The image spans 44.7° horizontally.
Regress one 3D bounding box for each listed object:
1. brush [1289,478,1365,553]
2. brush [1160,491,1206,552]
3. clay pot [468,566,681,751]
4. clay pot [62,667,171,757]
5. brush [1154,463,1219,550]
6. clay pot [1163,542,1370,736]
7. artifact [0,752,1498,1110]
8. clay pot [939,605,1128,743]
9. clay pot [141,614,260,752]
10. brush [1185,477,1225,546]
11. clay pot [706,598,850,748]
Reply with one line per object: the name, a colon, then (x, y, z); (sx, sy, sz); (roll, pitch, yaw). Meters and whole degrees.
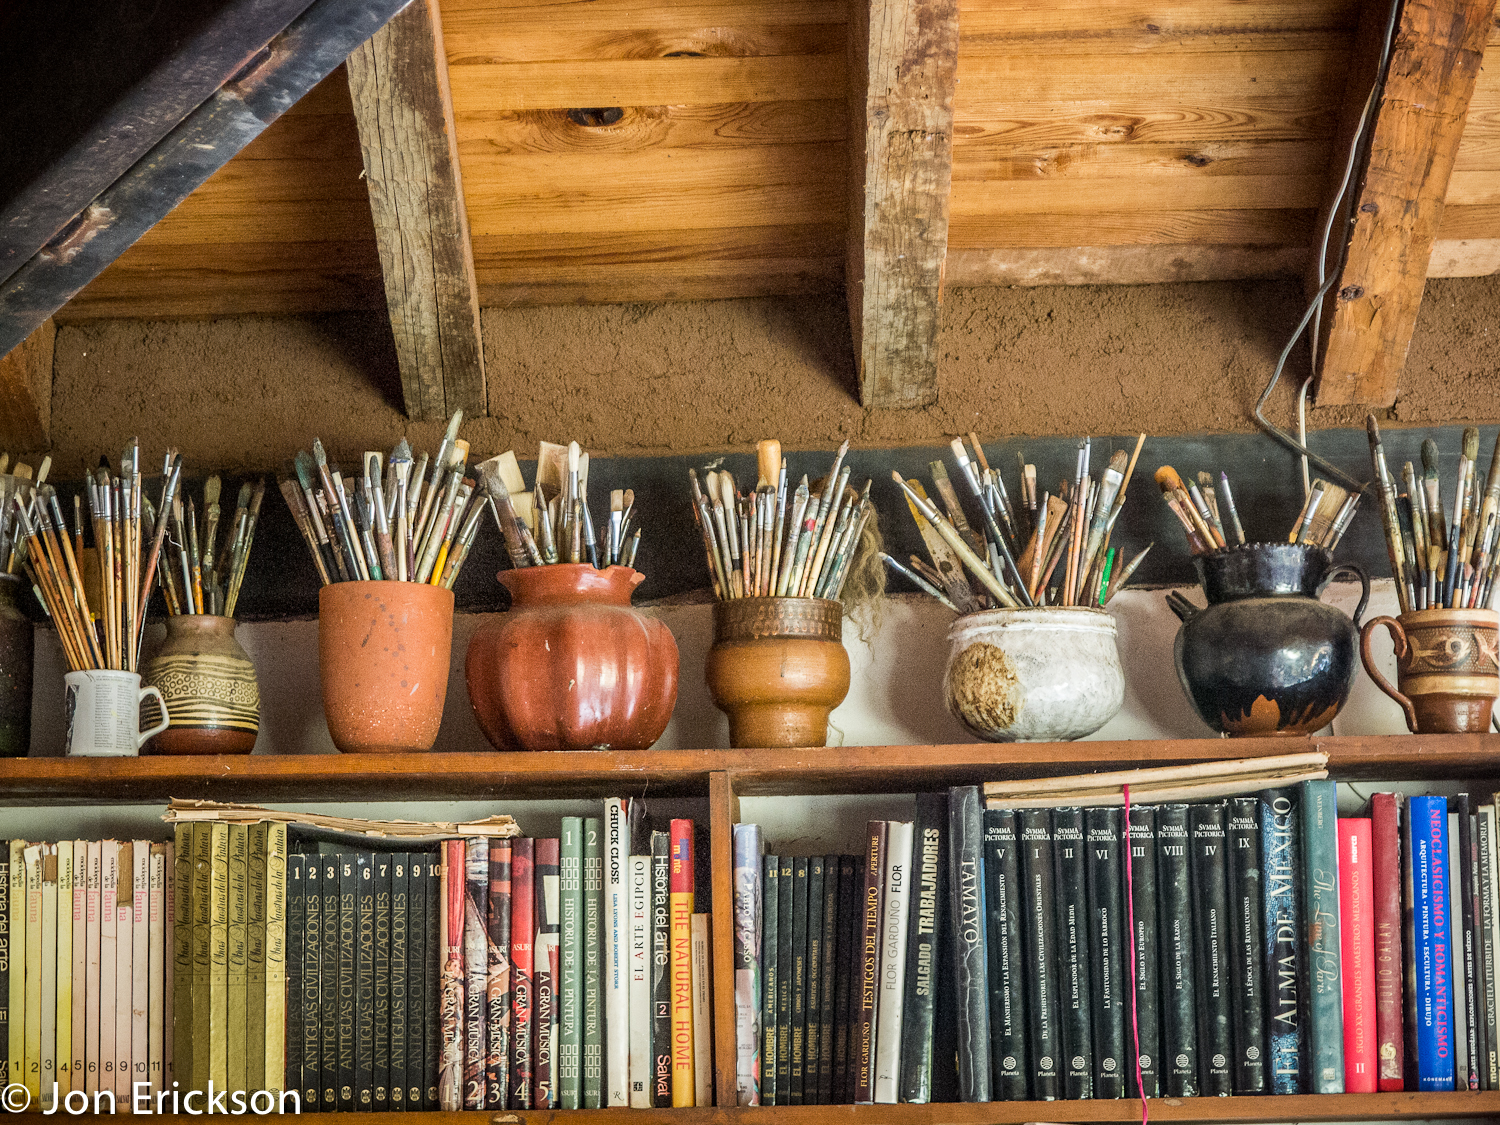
brush: (0.811, -0.065, 2.591); (0.092, 0.116, 0.032); (28, -10, -10)
brush: (0.620, -0.060, 2.617); (0.025, 0.116, 0.027); (-27, -21, -9)
clay pot: (-0.258, 0.137, 2.616); (0.320, 0.269, 0.305); (-1, -3, 0)
clay pot: (-0.879, 0.210, 2.527); (0.176, 0.118, 0.107); (1, -11, -28)
brush: (0.611, -0.077, 2.607); (0.037, 0.172, 0.042); (-18, -31, -15)
clay pot: (0.732, 0.119, 2.569); (0.279, 0.262, 0.264); (0, -5, 0)
artifact: (-0.026, 0.478, 2.530); (2.122, 0.578, 0.379); (-4, 3, 3)
clay pot: (0.390, 0.167, 2.524); (0.199, 0.146, 0.205); (-1, -7, 0)
clay pot: (-0.792, 0.173, 2.619); (0.182, 0.184, 0.172); (-1, -5, 0)
brush: (0.648, -0.070, 2.587); (0.031, 0.126, 0.014); (-13, -29, -7)
clay pot: (0.042, 0.167, 2.612); (0.229, 0.197, 0.222); (1, -8, 0)
